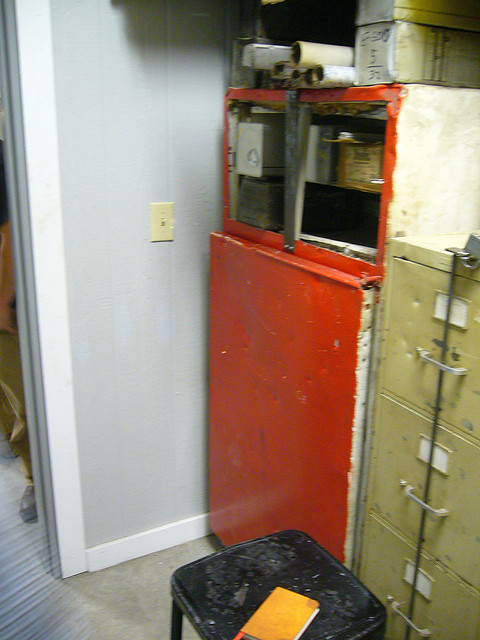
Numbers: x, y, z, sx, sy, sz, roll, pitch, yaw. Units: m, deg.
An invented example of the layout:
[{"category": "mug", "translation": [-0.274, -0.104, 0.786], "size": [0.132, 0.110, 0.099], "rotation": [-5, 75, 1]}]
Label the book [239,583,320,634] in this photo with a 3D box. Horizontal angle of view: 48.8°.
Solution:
[{"category": "book", "translation": [0.067, 0.462, 0.821], "size": [0.087, 0.010, 0.111], "rotation": [3, 6, 32]}]

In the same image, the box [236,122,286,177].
[{"category": "box", "translation": [0.074, -0.431, 1.338], "size": [0.175, 0.119, 0.173], "rotation": [6, 21, 18]}]

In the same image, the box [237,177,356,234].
[{"category": "box", "translation": [0.147, -0.299, 1.357], "size": [0.318, 0.148, 0.210], "rotation": [0, 5, 2]}]

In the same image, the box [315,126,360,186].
[{"category": "box", "translation": [0.199, -0.335, 1.067], "size": [0.070, 0.117, 0.127], "rotation": [-11, 16, -27]}]
